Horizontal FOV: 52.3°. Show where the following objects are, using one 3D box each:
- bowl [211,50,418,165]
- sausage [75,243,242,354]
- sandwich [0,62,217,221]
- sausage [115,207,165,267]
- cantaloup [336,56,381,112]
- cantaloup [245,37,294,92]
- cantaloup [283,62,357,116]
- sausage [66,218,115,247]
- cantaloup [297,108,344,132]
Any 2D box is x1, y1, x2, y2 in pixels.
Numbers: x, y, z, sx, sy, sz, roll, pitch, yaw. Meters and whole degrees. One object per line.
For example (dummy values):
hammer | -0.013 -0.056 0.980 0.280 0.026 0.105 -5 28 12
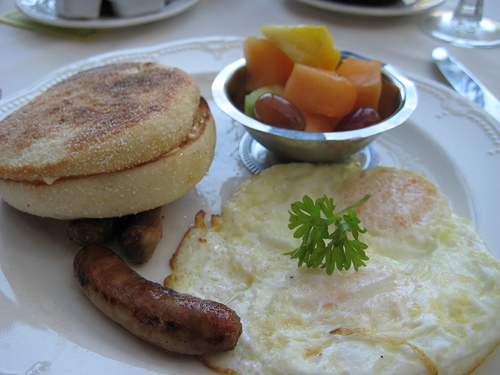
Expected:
bowl | 0.228 -0.458 2.336 1.015 0.442 0.737 -4 23 -2
sausage | -0.330 0.361 1.620 0.629 0.104 0.185 23 58 17
sandwich | -0.536 -0.184 1.882 0.814 0.248 0.601 -17 55 -11
sausage | -0.389 0.165 1.820 0.114 0.080 0.240 -9 51 4
cantaloup | 0.444 -0.416 2.021 0.176 0.065 0.182 6 81 17
cantaloup | 0.077 -0.517 2.107 0.248 0.198 0.142 -2 21 -9
cantaloup | 0.262 -0.382 1.971 0.239 0.181 0.104 15 24 6
sausage | -0.548 0.122 1.806 0.164 0.100 0.144 7 17 27
cantaloup | 0.274 -0.257 2.007 0.248 0.076 0.164 1 18 -11
